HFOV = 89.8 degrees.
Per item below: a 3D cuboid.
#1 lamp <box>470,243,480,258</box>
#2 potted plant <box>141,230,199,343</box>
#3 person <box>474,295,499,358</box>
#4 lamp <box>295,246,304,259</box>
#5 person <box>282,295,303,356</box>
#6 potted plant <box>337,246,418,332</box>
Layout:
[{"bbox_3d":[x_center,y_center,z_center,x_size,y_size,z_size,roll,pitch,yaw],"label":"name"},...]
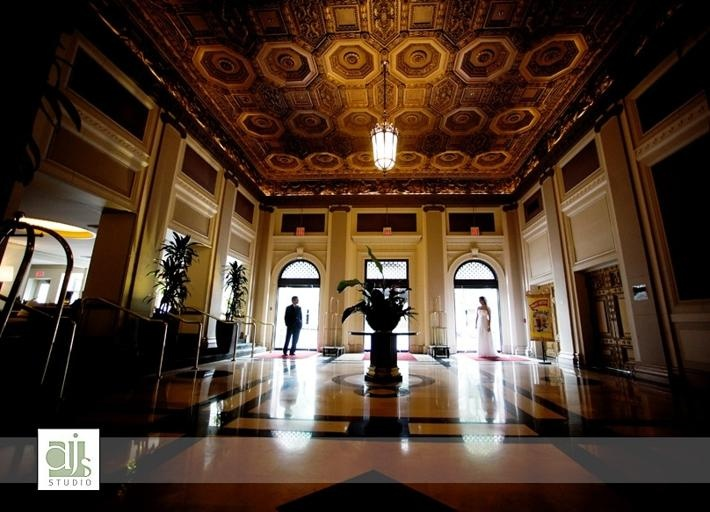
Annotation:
[{"bbox_3d":[3.722,-0.186,11.100,0.288,0.325,0.332,-1,-7,11],"label":"lamp"},{"bbox_3d":[-3.733,0.332,7.342,0.873,1.711,1.762,2,-3,-24],"label":"potted plant"},{"bbox_3d":[3.469,1.874,9.427,0.486,1.566,0.733,0,-3,13],"label":"person"},{"bbox_3d":[-1.762,-0.111,11.445,0.284,0.434,0.284,0,-9,1],"label":"lamp"},{"bbox_3d":[-1.664,1.924,9.675,0.437,1.656,1.272,1,-3,-8],"label":"person"},{"bbox_3d":[0.248,0.583,5.930,1.088,1.348,1.361,0,-4,39],"label":"potted plant"}]
